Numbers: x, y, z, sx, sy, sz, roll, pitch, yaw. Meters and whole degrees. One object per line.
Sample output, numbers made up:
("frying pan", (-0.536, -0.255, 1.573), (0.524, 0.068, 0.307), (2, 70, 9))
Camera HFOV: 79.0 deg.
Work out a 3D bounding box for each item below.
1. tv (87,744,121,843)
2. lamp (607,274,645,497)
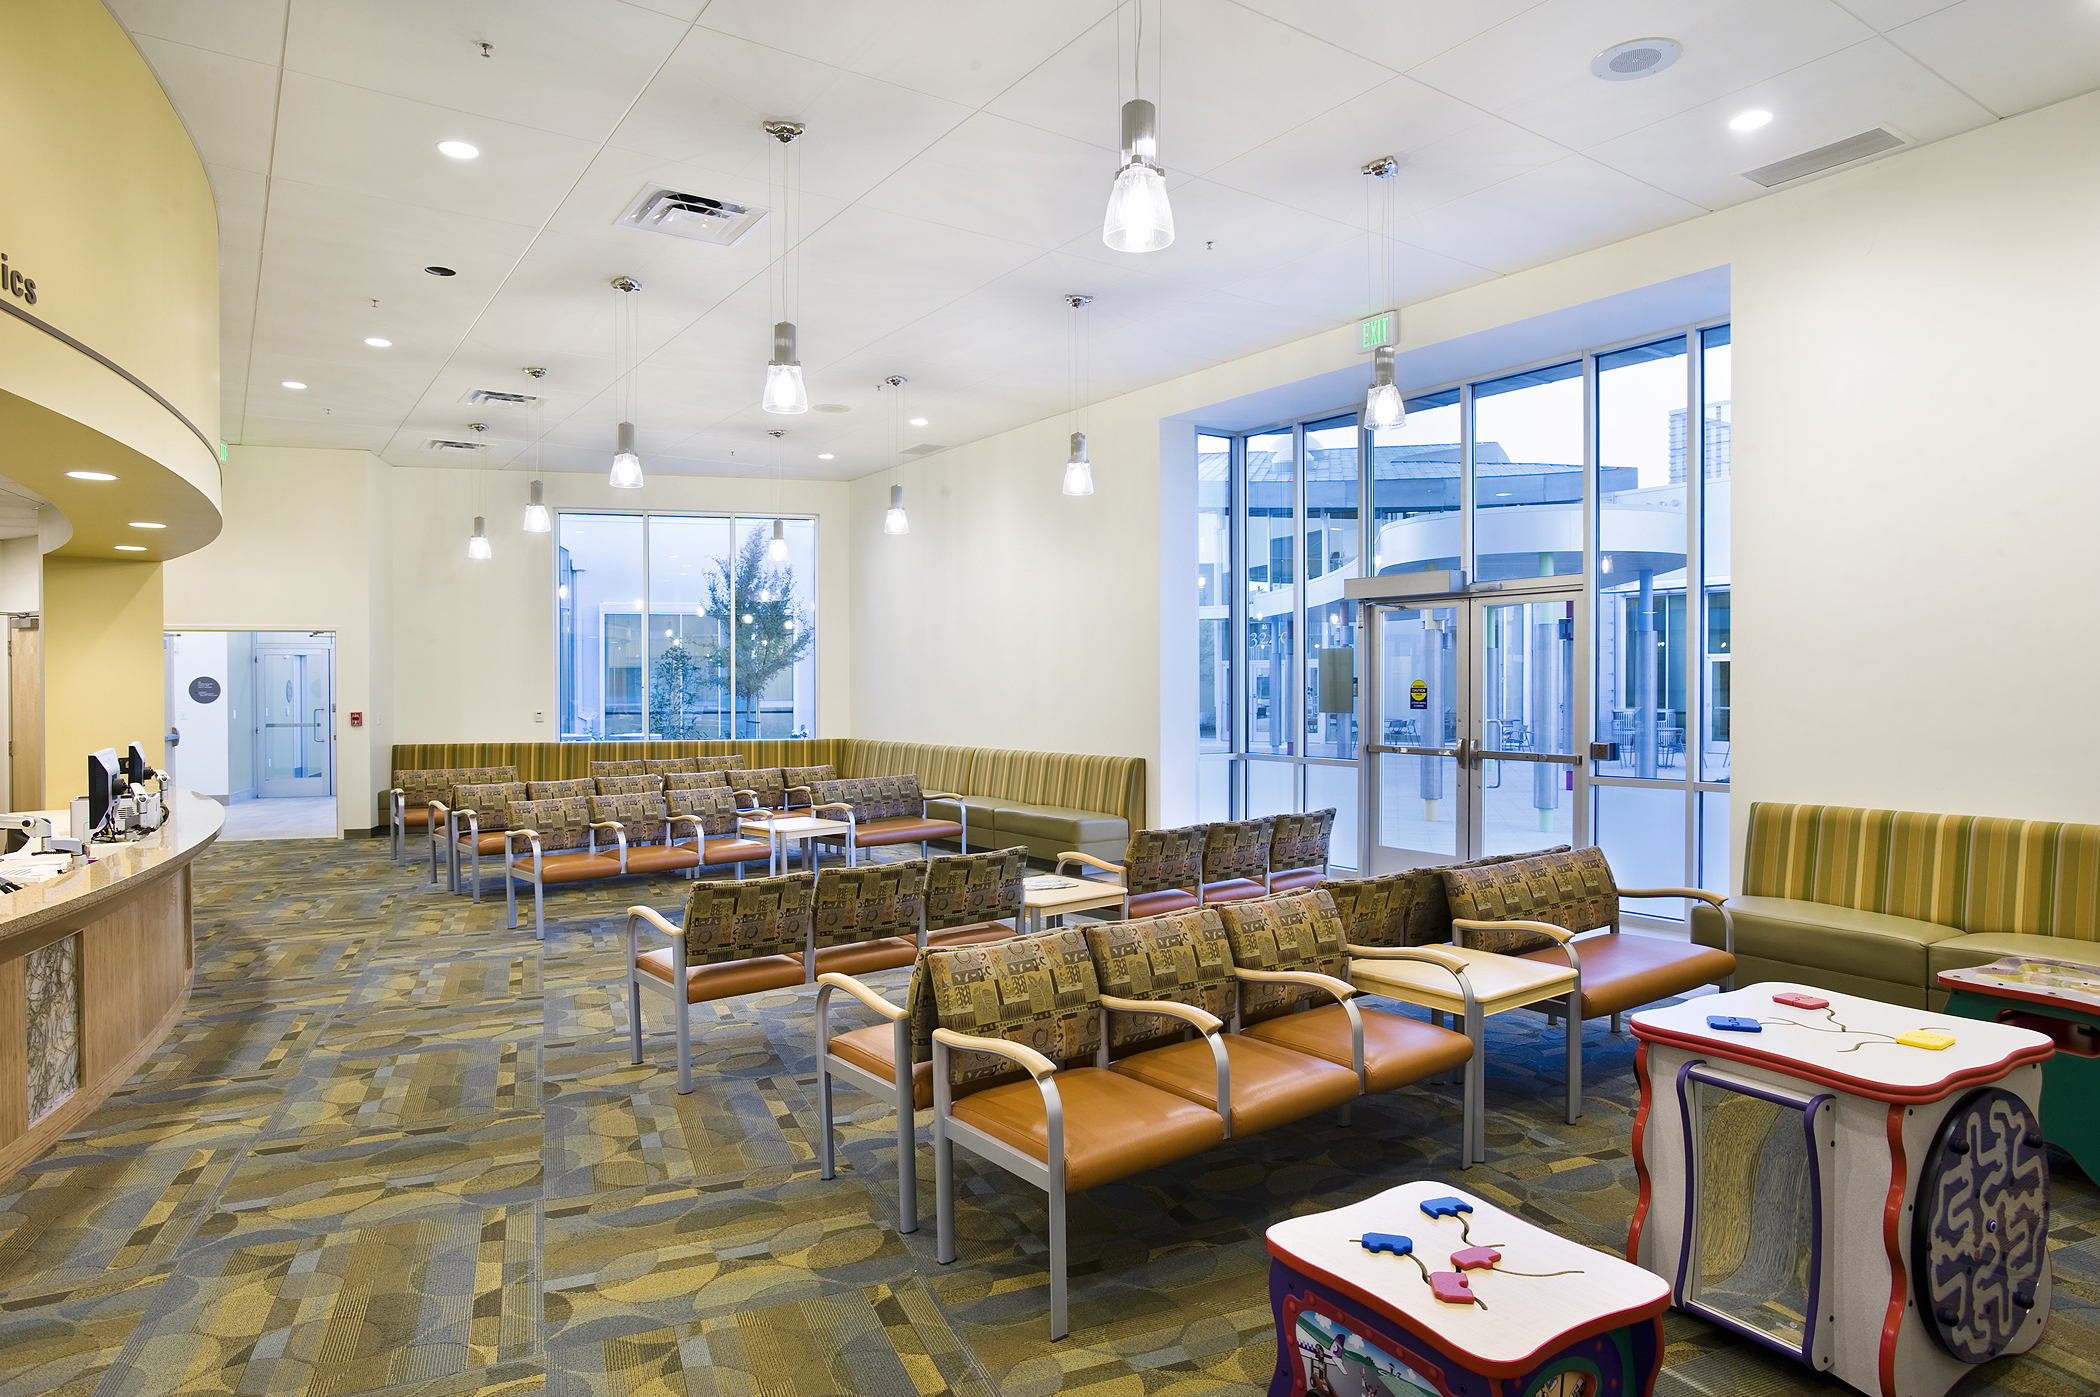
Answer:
("tv", (-5.963, 0.586, 7.995), (0.155, 0.506, 0.424), (-6, 12, -26))
("lamp", (-3.388, -2.546, 10.168), (0.323, 1.678, 0.340), (12, 15, 39))
